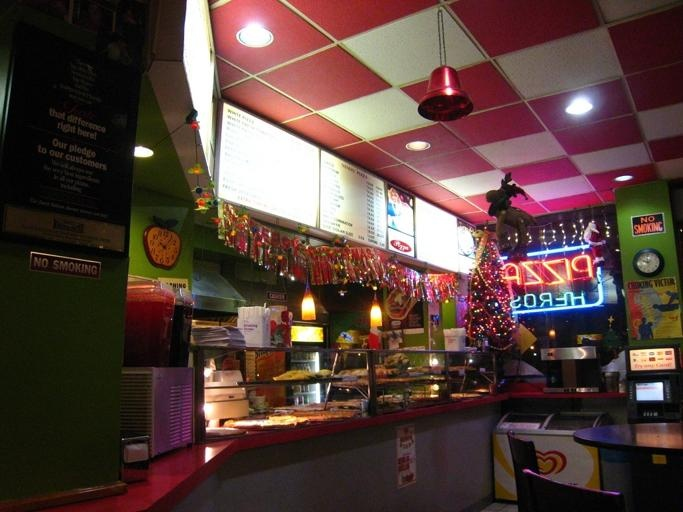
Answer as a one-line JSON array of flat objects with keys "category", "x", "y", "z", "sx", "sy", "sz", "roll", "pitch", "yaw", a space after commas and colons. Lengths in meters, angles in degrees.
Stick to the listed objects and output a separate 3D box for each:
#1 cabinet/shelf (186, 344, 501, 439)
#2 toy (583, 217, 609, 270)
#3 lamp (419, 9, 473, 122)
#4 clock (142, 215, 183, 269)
[{"category": "cabinet/shelf", "x": 0.221, "y": 0.951, "z": 4.062, "sx": 0.299, "sy": 0.595, "sz": 3.234, "roll": -12, "pitch": -14, "yaw": 41}, {"category": "toy", "x": 3.490, "y": -0.182, "z": 7.290, "sx": 0.287, "sy": 0.623, "sz": 0.535, "roll": -8, "pitch": -12, "yaw": 25}, {"category": "lamp", "x": 0.762, "y": -1.415, "z": 3.876, "sx": 0.384, "sy": 0.788, "sz": 0.442, "roll": -17, "pitch": -28, "yaw": 36}, {"category": "clock", "x": -1.350, "y": -0.114, "z": 3.967, "sx": 0.114, "sy": 0.422, "sz": 0.358, "roll": -6, "pitch": -8, "yaw": 38}]
